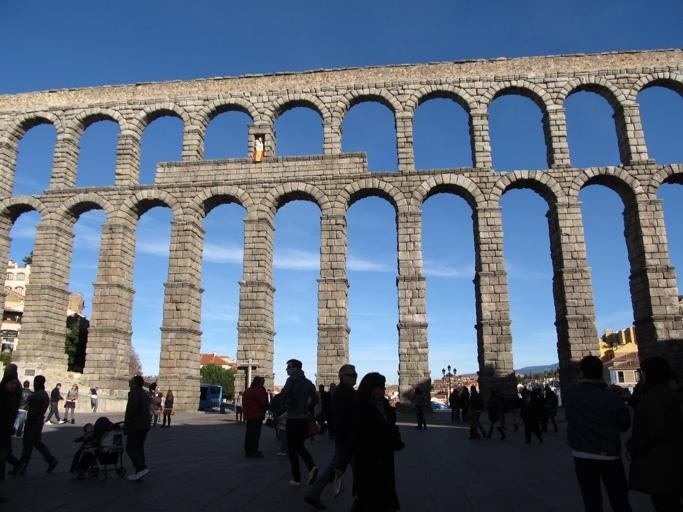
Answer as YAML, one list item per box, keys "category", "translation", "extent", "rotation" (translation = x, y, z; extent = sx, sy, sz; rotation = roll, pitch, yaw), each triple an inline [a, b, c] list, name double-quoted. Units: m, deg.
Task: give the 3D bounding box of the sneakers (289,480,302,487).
- category: "sneakers"
  translation: [-0.857, 4.178, 9.641]
  extent: [0.084, 0.102, 0.245]
  rotation: [6, -4, -43]
